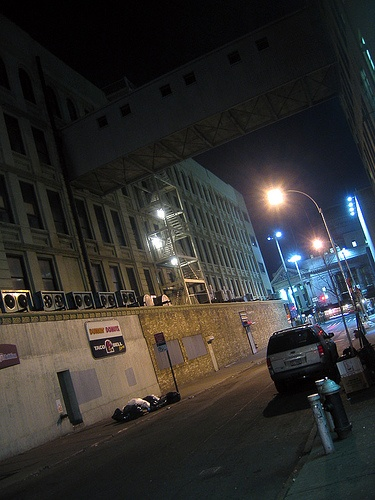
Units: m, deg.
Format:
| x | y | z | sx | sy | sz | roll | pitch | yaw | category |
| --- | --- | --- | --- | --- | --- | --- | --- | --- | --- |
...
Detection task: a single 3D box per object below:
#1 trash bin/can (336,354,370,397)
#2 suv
| x | y | z | sx | sy | sz | roll | pitch | yaw | category |
| --- | --- | --- | --- | --- | --- | --- | --- | --- | --- |
| 3.822 | 2.924 | 7.982 | 0.561 | 0.769 | 0.491 | -20 | -11 | 13 | trash bin/can |
| 3.978 | 3.555 | 11.417 | 1.733 | 1.669 | 2.699 | -27 | -14 | 39 | suv |
